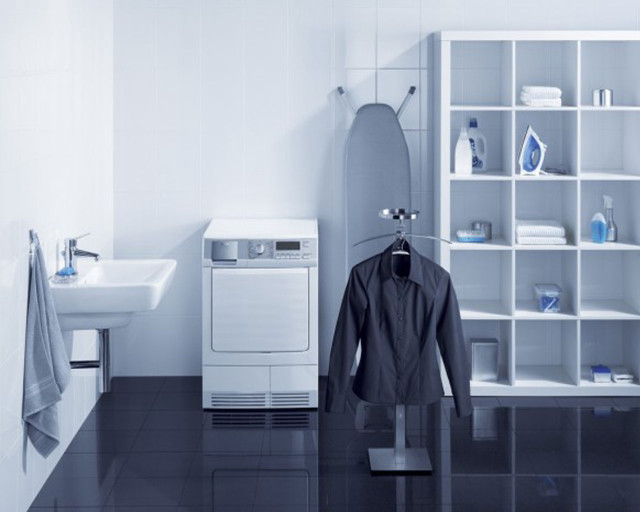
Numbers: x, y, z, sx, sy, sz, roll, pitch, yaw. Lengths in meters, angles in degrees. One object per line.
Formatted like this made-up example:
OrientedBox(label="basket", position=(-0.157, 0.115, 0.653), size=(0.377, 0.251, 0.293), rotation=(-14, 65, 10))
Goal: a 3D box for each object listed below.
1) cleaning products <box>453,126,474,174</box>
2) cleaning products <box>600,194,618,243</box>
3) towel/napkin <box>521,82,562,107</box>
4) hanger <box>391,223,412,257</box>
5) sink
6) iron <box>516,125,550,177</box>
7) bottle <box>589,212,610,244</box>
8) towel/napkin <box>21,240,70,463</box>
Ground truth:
OrientedBox(label="cleaning products", position=(0.865, -0.636, 4.443), size=(0.098, 0.283, 0.090), rotation=(0, 10, 7))
OrientedBox(label="cleaning products", position=(1.780, -0.237, 4.517), size=(0.097, 0.282, 0.101), rotation=(2, 8, 33))
OrientedBox(label="towel/napkin", position=(1.305, -0.954, 4.403), size=(0.266, 0.125, 0.202), rotation=(6, 14, 33))
OrientedBox(label="hanger", position=(0.417, -0.103, 3.805), size=(0.090, 0.170, 0.287), rotation=(0, 11, 7))
OrientedBox(label="sink", position=(-1.014, 0.159, 3.765), size=(0.481, 0.363, 0.627), rotation=(1, 11, -8))
OrientedBox(label="iron", position=(1.297, -0.641, 4.439), size=(0.198, 0.287, 0.119), rotation=(-8, 12, -32))
OrientedBox(label="bottle", position=(1.725, -0.189, 4.537), size=(0.097, 0.168, 0.218), rotation=(2, 12, 18))
OrientedBox(label="towel/napkin", position=(-1.284, 0.410, 3.430), size=(0.184, 1.036, 0.296), rotation=(-2, 10, -1))
